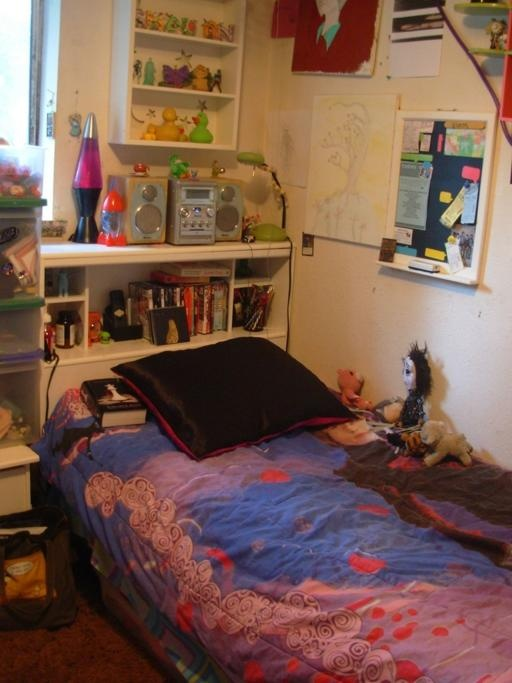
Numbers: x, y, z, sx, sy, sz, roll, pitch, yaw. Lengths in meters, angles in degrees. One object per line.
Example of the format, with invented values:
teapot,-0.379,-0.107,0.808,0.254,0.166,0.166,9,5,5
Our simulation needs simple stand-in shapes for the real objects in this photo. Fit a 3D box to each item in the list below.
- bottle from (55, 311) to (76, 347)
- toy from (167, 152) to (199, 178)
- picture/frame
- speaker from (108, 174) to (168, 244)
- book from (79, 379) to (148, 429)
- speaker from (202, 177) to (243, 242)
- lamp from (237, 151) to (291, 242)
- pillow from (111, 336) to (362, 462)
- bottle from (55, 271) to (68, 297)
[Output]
bottle,-0.756,-0.046,2.201,0.051,0.147,0.082,8,9,36
toy,-0.332,-0.782,2.438,0.087,0.113,0.217,-20,31,-23
picture/frame,0.651,-0.514,1.935,0.077,0.696,0.533,-9,25,-36
speaker,-0.500,-0.560,2.286,0.249,0.264,0.243,20,27,27
book,-0.522,0.212,1.977,0.166,0.062,0.288,-3,19,-30
speaker,-0.136,-0.585,2.472,0.096,0.272,0.203,7,9,33
lamp,0.045,-0.707,2.667,0.311,0.467,0.202,-17,44,-20
pillow,-0.103,0.176,2.063,0.729,0.188,0.767,29,33,29
bottle,-0.744,-0.219,2.096,0.059,0.104,0.081,-2,19,-16
